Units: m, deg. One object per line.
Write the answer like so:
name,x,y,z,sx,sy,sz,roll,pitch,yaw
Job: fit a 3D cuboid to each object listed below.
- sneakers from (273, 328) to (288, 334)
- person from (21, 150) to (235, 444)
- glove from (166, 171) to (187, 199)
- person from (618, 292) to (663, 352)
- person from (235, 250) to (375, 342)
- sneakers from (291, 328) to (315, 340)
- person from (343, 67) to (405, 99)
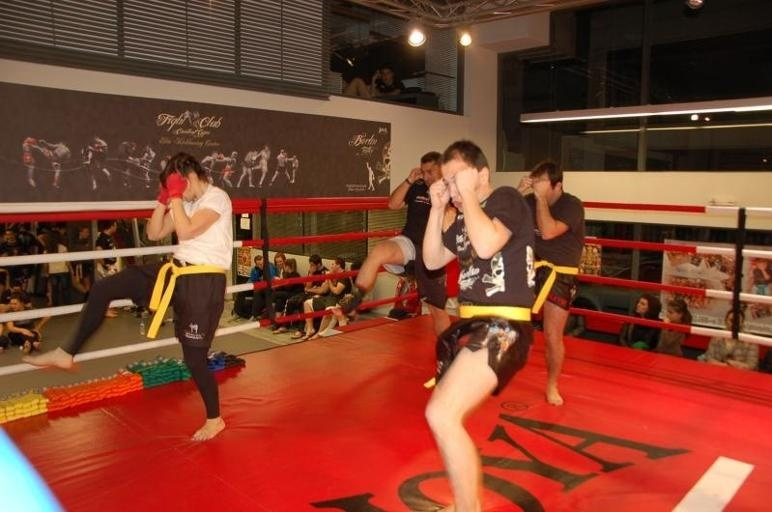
sneakers,-1.726,1.226,8.361,0.086,0.082,0.239,-2,-3,43
person,-1.661,0.183,3.740,1.042,1.843,0.427,3,11,10
glove,-1.455,-0.499,3.565,0.139,0.168,0.134,-5,12,-27
person,3.568,0.968,7.076,0.539,0.869,0.486,7,-6,16
person,-1.192,0.671,7.543,1.354,0.895,1.779,-10,9,-42
sneakers,-1.225,1.173,7.558,0.270,0.122,0.533,0,-4,-7
person,-0.138,-2.878,8.343,1.209,0.536,0.178,-9,15,-44
